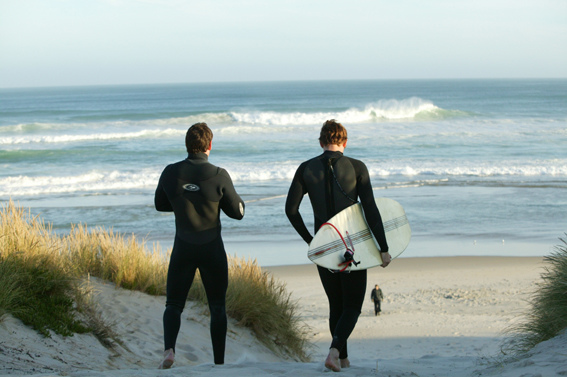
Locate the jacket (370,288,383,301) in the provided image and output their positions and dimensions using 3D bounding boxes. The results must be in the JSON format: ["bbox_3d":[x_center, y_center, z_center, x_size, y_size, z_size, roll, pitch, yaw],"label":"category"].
[{"bbox_3d":[4.704,5.173,48.392,0.887,0.802,0.492,1,-2,0],"label":"jacket"}]
